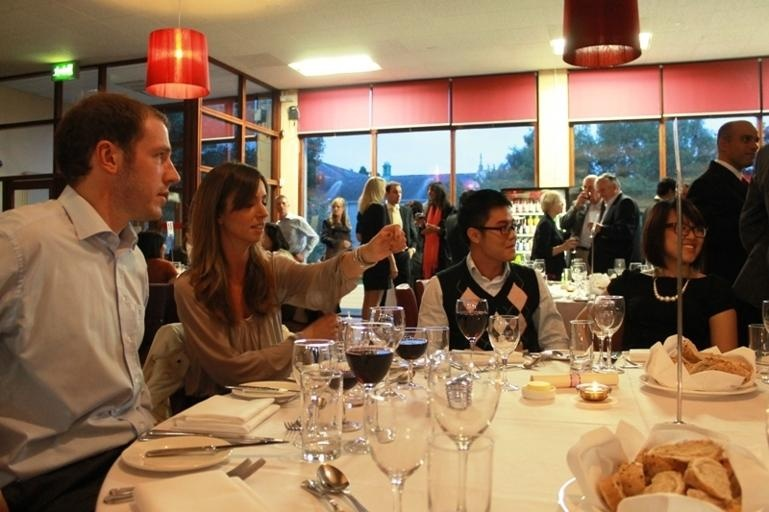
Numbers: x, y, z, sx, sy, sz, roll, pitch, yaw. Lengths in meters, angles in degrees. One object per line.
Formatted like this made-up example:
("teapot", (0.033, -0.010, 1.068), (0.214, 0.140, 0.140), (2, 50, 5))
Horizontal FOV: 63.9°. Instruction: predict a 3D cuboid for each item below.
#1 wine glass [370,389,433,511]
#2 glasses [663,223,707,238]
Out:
("wine glass", (0.037, 0.507, 1.616), (0.162, 0.315, 0.200), (-1, 5, -2))
("glasses", (1.464, -0.127, 3.009), (0.133, 0.042, 0.135), (7, -7, -21))
